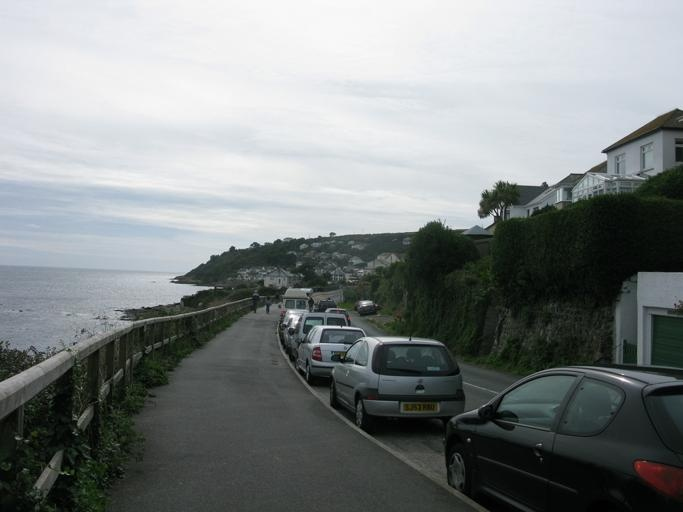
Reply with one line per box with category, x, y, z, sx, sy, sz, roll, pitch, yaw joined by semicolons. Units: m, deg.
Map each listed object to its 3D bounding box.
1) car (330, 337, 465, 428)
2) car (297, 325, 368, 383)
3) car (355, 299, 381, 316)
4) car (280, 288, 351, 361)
car;0.896;2.493;10.834;1.507;1.195;2.572;2;-3;-10
car;-0.519;2.878;15.565;1.100;0.915;2.514;1;-1;-10
car;3.421;6.996;68.725;2.460;1.897;4.937;5;-2;-2
car;-1.334;3.278;21.916;1.879;2.490;4.698;0;0;-5
